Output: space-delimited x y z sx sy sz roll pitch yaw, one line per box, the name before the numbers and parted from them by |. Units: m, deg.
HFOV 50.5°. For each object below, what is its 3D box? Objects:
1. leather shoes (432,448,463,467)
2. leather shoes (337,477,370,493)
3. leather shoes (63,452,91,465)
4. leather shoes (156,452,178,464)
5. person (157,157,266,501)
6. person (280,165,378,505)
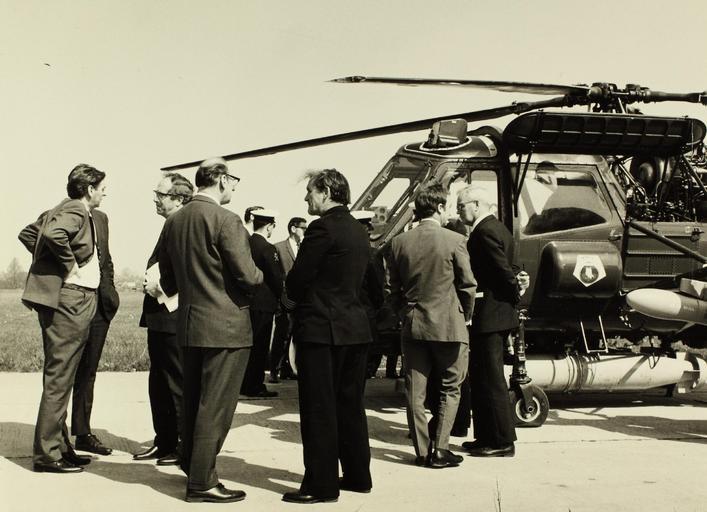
leather shoes | 0.862 1.814 6.810 0.352 0.180 0.120 -1 -1 -19
leather shoes | 0.000 1.881 6.253 0.277 0.130 0.104 6 0 31
leather shoes | -2.434 1.801 6.691 0.256 0.121 0.090 3 4 -19
leather shoes | -1.666 1.828 6.797 0.226 0.104 0.083 3 2 -35
person | -1.180 0.572 6.121 0.860 2.751 0.381 1 -2 28
person | -0.183 0.632 6.193 0.791 2.684 0.422 3 -2 -13
